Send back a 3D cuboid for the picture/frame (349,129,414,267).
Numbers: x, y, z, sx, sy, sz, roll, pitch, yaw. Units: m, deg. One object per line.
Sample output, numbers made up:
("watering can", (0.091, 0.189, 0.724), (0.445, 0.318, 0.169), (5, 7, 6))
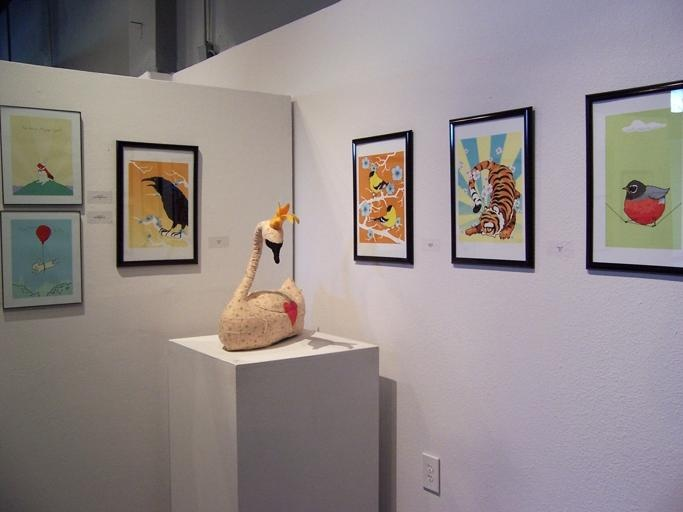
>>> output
("picture/frame", (0.208, -0.292, 2.729), (0.406, 0.645, 0.030), (7, 7, 44))
